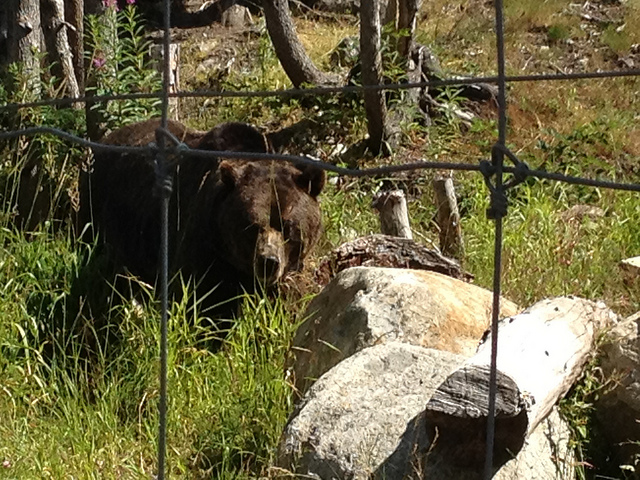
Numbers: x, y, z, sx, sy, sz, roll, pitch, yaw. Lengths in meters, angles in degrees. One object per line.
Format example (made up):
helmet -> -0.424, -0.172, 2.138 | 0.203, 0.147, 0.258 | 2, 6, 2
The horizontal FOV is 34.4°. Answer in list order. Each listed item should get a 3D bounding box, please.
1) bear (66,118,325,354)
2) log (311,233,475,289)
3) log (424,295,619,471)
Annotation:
bear -> -1.155, -0.023, 8.769 | 1.090, 1.951, 2.756 | -1, 12, -40
log -> 0.521, 0.131, 8.467 | 0.621, 0.256, 0.710 | 13, -17, -17
log -> 1.366, 0.970, 6.993 | 0.564, 0.597, 1.833 | 19, 24, 30
